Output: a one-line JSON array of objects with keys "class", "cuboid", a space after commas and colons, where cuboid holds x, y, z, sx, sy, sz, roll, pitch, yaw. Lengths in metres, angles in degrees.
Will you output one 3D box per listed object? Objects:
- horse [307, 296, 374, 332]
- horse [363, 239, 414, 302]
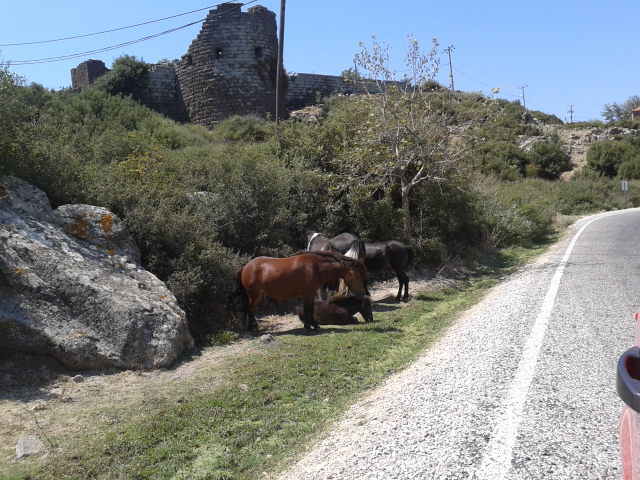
[{"class": "horse", "cuboid": [0.509, 1.844, 13.939, 1.883, 1.122, 0.655, -1, 8, -8]}, {"class": "horse", "cuboid": [2.097, 0.821, 16.658, 1.269, 1.676, 1.047, -4, 13, 13]}]
